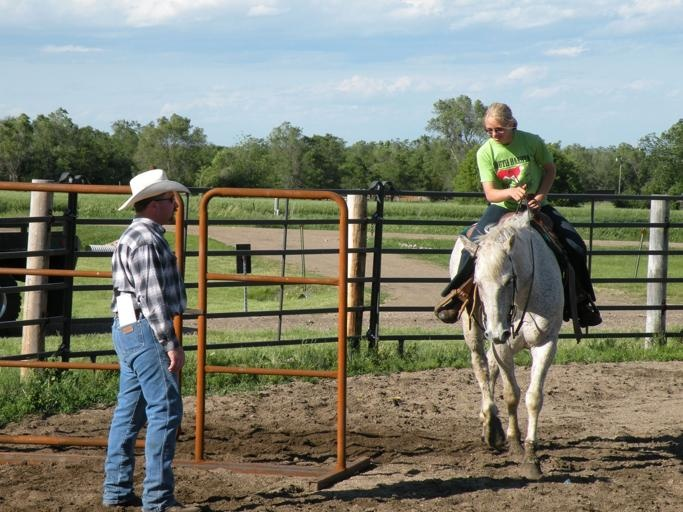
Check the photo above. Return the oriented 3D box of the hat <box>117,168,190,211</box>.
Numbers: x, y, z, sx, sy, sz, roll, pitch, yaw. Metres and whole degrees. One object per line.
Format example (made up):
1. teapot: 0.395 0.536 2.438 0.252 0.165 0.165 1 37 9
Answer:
1. hat: -2.114 -0.796 13.842 0.765 0.326 0.811 -8 8 27

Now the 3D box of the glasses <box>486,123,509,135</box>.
1. glasses: 1.824 -1.527 14.879 0.292 0.103 0.164 -1 2 35

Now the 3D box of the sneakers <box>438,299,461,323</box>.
1. sneakers: 1.369 0.663 15.478 0.343 0.198 0.092 -35 -3 42

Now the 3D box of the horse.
1. horse: 1.980 0.988 14.701 1.248 3.083 1.504 -3 2 4
